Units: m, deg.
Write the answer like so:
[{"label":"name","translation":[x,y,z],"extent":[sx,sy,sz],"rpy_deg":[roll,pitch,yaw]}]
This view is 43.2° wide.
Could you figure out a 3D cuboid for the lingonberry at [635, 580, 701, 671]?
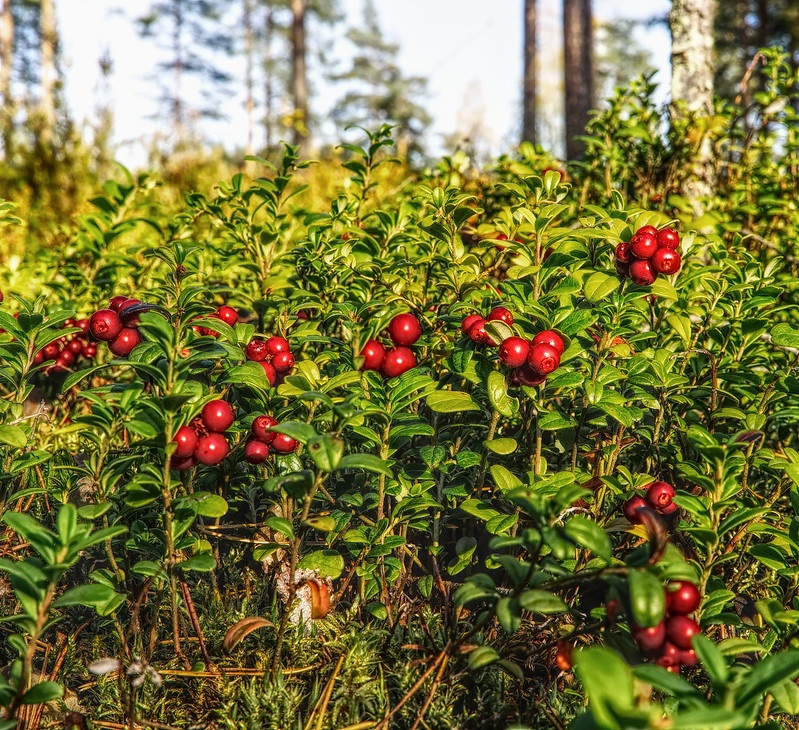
[{"label":"lingonberry","translation":[1.092,1.049,4.133],"extent":[0.263,0.373,0.350],"rpy_deg":[-5,-5,-8]}]

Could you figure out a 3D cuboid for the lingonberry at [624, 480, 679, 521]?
[{"label":"lingonberry","translation":[1.136,0.618,4.621],"extent":[0.199,0.095,0.120],"rpy_deg":[-30,21,-11]}]
